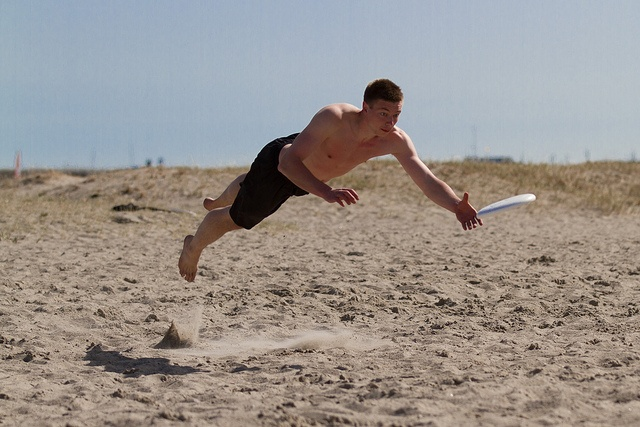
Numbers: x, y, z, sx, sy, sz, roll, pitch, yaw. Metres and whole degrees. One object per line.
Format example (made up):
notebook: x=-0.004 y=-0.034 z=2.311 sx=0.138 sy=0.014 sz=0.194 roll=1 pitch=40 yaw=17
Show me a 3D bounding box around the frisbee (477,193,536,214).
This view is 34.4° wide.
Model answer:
frisbee: x=2.305 y=-0.122 z=12.626 sx=0.474 sy=0.080 sz=0.345 roll=-19 pitch=8 yaw=-6
